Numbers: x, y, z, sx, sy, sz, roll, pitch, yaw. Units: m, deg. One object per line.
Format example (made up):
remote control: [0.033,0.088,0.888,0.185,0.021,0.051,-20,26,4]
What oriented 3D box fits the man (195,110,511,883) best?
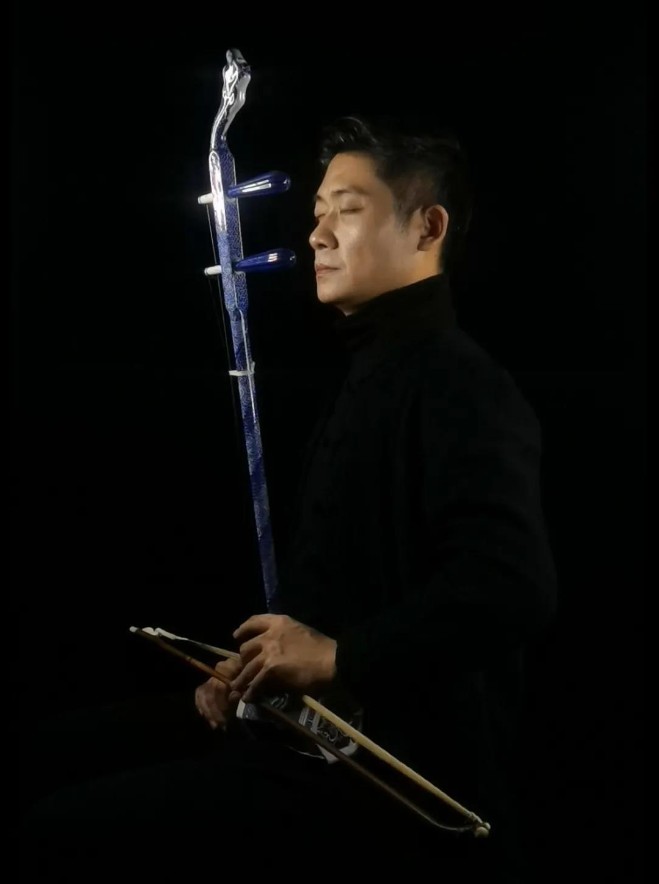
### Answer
man: [0.035,-0.008,1.892,0.145,1.037,0.358,-14,16,-39]

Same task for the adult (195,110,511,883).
adult: [0.030,-0.003,1.877,0.145,1.037,0.358,-14,16,-39]
